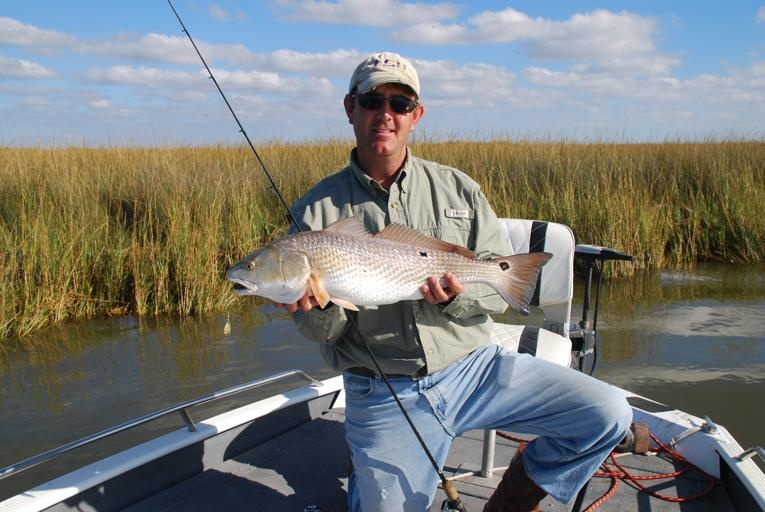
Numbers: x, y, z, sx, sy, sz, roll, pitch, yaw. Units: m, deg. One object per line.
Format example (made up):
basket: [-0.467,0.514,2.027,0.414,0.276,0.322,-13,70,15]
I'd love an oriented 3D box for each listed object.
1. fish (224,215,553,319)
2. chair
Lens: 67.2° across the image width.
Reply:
fish: [-0.016,0.114,4.545,2.387,0.720,0.292,-1,6,0]
chair: [1.459,0.919,5.795,0.970,2.411,1.336,0,-19,4]
